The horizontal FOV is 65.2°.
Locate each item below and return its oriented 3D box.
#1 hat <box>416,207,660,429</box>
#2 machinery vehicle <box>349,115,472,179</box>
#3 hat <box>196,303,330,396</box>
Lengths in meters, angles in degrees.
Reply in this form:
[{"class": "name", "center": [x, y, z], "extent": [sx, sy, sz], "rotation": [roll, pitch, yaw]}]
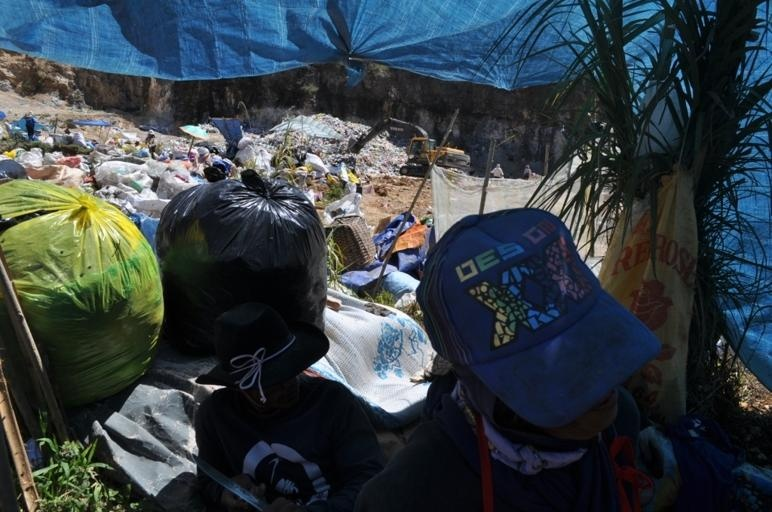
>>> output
[{"class": "hat", "center": [0.502, 0.161, 2.247], "extent": [0.658, 0.492, 0.980], "rotation": [-28, 31, -16]}, {"class": "machinery vehicle", "center": [1.082, -4.146, 22.969], "extent": [4.108, 2.029, 1.512], "rotation": [12, 17, 34]}, {"class": "hat", "center": [-0.643, 0.403, 2.932], "extent": [0.544, 0.280, 0.635], "rotation": [-31, 23, -33]}]
